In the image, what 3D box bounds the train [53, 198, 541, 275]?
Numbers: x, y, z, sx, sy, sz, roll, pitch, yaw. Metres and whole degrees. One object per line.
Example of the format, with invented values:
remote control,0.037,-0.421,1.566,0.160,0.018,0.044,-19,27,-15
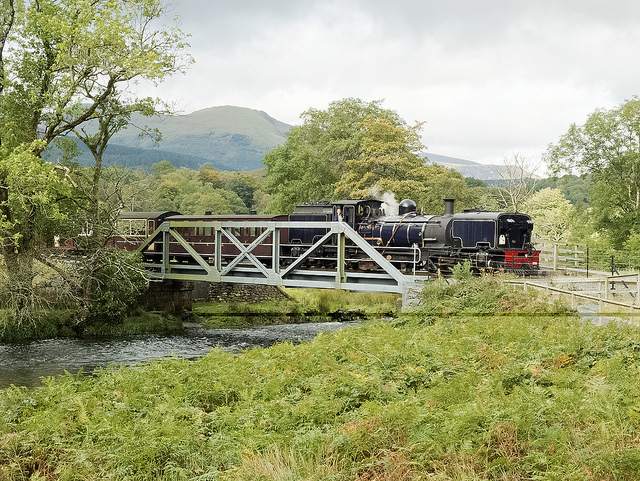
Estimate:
train,-6.277,-0.081,39.176,37.149,4.226,6.496,-3,-8,39
